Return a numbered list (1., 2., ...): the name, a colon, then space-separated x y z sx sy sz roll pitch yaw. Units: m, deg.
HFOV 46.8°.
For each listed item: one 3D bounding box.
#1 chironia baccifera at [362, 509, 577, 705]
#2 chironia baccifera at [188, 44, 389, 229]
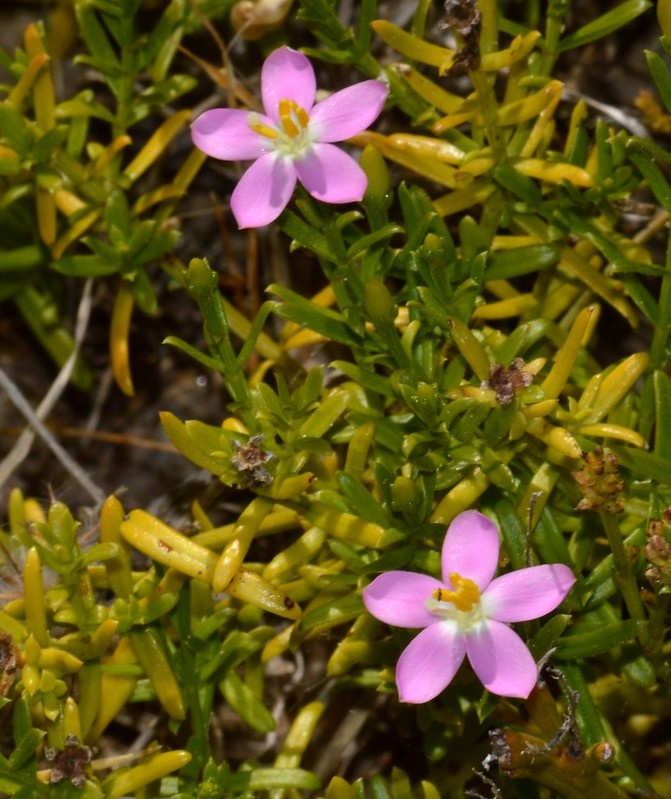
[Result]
1. chironia baccifera: 0.147 0.229 0.834 0.239 0.089 0.210 -7 65 11
2. chironia baccifera: -0.052 -0.330 0.942 0.237 0.090 0.195 -6 93 12
